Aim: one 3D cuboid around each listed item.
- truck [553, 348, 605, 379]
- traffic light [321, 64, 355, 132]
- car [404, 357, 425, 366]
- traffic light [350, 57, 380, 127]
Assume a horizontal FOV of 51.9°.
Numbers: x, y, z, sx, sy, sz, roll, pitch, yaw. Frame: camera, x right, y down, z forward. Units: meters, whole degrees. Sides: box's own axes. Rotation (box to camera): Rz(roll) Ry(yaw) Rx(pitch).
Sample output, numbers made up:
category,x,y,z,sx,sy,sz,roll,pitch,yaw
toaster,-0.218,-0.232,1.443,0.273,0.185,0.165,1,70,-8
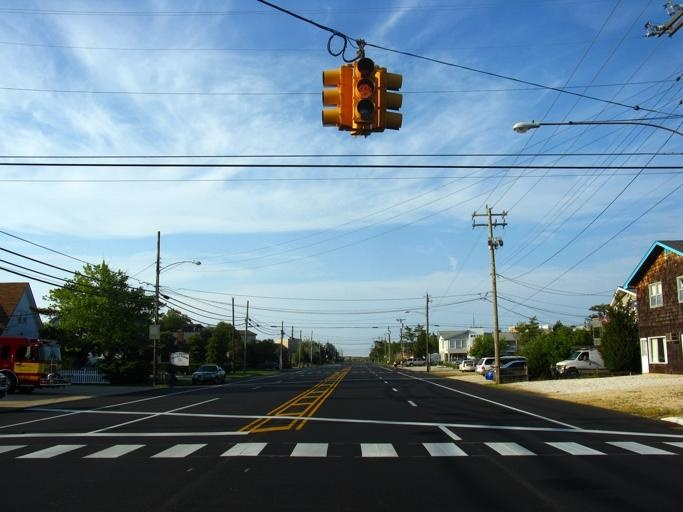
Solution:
category,x,y,z,sx,sy,sz,roll,pitch,yaw
truck,17.097,7.748,50.765,3.584,1.912,1.973,7,-14,-22
traffic light,-0.075,-3.807,16.726,0.711,1.517,0.539,0,-13,-6
car,12.722,18.311,120.291,2.758,1.027,1.539,-4,-5,5
traffic light,0.539,-3.866,16.668,0.582,1.609,0.508,-1,-13,0
